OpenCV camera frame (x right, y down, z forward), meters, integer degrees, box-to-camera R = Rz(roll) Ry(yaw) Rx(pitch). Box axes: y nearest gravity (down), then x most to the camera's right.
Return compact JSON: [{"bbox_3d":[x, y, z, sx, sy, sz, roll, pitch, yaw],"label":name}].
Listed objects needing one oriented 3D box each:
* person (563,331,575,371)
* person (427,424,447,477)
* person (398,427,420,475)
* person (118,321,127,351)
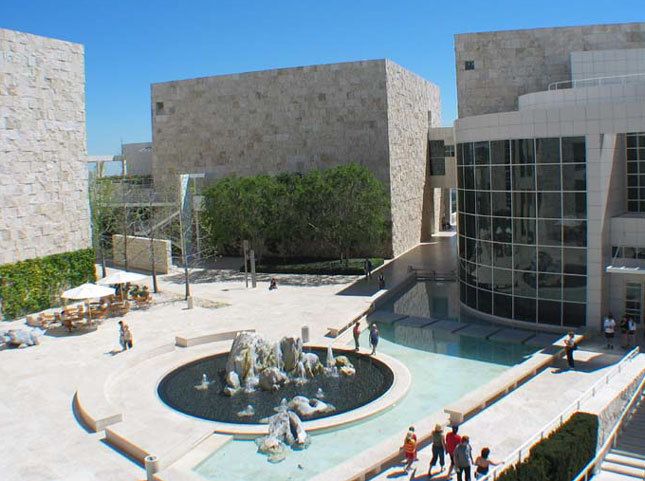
[{"bbox_3d":[10.740,4.662,24.080,0.424,1.563,0.706,0,6,25],"label":"person"},{"bbox_3d":[3.530,6.274,17.183,0.547,1.654,0.937,-2,6,12],"label":"person"},{"bbox_3d":[2.724,6.364,17.384,0.437,1.378,0.651,-2,6,8],"label":"person"},{"bbox_3d":[-9.493,4.454,26.384,0.263,1.391,0.982,-5,6,-21],"label":"person"}]
